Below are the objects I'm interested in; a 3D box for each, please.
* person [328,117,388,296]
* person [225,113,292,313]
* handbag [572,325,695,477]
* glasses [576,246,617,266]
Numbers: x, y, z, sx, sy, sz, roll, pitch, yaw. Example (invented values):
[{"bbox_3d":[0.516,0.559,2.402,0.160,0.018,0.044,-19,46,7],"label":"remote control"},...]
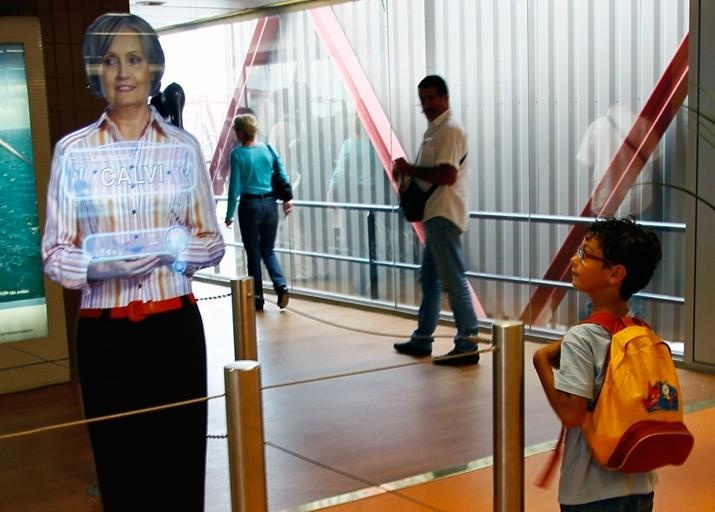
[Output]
[{"bbox_3d":[-0.001,-0.197,2.658,0.089,0.850,0.318,7,10,43],"label":"person"},{"bbox_3d":[-0.399,-0.141,2.391,0.151,0.839,0.447,2,8,13],"label":"person"},{"bbox_3d":[0.761,0.392,1.569,0.249,0.369,0.150,-2,8,-17],"label":"handbag"},{"bbox_3d":[0.695,-0.007,1.698,0.066,0.024,0.058,12,4,1],"label":"glasses"}]
